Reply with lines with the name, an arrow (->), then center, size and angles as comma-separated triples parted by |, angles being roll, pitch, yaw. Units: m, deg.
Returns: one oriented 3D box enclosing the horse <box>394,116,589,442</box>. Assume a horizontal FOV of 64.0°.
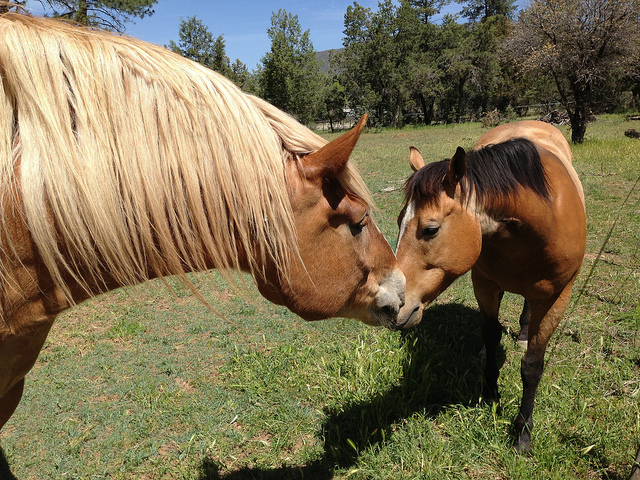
horse -> 2.191, 0.207, 5.332 | 1.218, 3.017, 4.245 | 4, 20, 32
